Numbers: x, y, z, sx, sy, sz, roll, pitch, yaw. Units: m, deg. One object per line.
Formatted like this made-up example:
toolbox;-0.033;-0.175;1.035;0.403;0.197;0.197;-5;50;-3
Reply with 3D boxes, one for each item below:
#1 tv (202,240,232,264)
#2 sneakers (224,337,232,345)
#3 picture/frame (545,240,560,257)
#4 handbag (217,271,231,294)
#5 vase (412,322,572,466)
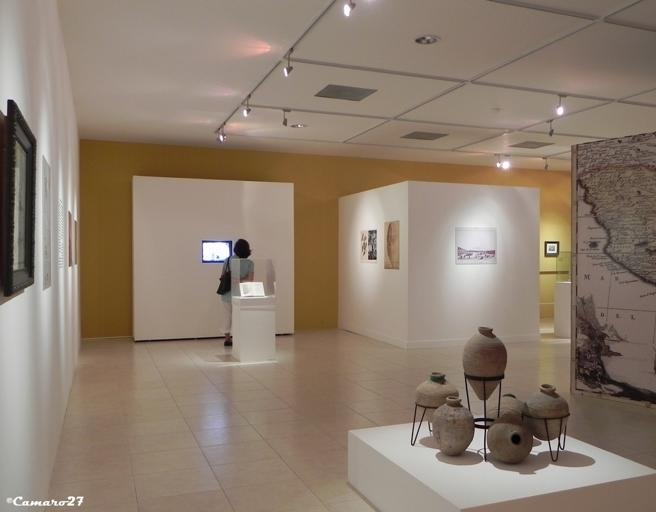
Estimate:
tv;-2.569;-0.122;10.781;0.821;0.642;0.461;0;0;-22
sneakers;-2.147;1.815;10.032;0.112;0.135;0.329;1;3;3
picture/frame;7.144;-0.266;14.909;0.482;0.526;0.051;-1;3;-19
handbag;-2.091;0.539;9.424;0.200;0.522;0.458;7;-8;-30
vase;1.144;0.965;3.386;1.068;0.645;0.756;0;0;28
